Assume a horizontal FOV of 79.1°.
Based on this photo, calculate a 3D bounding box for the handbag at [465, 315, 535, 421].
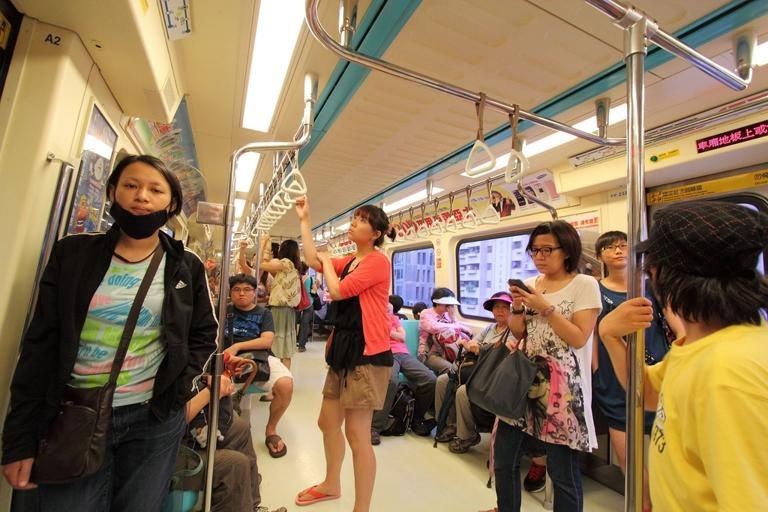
[{"bbox_3d":[0.705,0.635,2.720,0.183,0.533,0.418,17,-7,-29],"label":"handbag"}]

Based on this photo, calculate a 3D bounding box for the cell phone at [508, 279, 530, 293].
[{"bbox_3d":[0.758,0.167,2.600,0.141,0.014,0.082,45,-38,-22],"label":"cell phone"}]

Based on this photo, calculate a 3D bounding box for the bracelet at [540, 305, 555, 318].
[{"bbox_3d":[0.887,0.298,2.525,0.048,0.062,0.064,32,-22,-5],"label":"bracelet"}]

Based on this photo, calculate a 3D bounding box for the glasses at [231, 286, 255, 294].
[{"bbox_3d":[-1.187,0.286,3.913,0.207,0.059,0.086,2,-9,-19],"label":"glasses"}]

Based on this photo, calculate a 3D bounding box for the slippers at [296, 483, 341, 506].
[{"bbox_3d":[-0.441,1.549,3.051,0.219,0.066,0.125,3,-9,-12],"label":"slippers"}]

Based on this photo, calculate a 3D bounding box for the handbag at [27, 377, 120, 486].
[{"bbox_3d":[-1.395,0.672,1.937,0.435,0.438,0.156,14,-2,-6],"label":"handbag"}]

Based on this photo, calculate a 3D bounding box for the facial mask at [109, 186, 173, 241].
[{"bbox_3d":[-1.050,-0.160,2.005,0.199,0.106,0.206,-7,-15,-34],"label":"facial mask"}]

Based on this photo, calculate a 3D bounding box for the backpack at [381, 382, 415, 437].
[{"bbox_3d":[0.134,1.377,4.214,0.409,0.378,0.299,-6,12,-40],"label":"backpack"}]
